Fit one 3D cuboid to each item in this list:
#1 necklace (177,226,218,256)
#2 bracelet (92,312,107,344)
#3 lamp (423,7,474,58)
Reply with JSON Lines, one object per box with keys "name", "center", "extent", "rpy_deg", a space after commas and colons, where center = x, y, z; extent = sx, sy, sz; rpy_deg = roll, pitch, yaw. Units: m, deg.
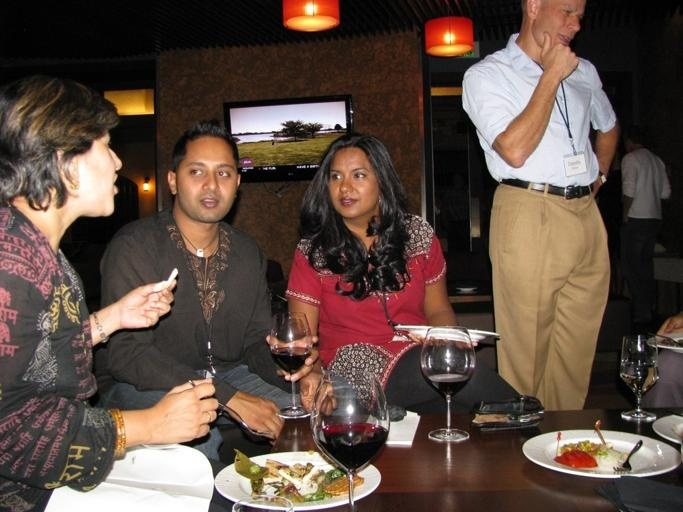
{"name": "necklace", "center": [-0.661, -0.049, 2.476], "extent": [0.131, 0.169, 0.067], "rpy_deg": [-14, -10, -13]}
{"name": "bracelet", "center": [-0.845, 0.258, 1.854], "extent": [0.073, 0.097, 0.051], "rpy_deg": [-6, -6, -23]}
{"name": "lamp", "center": [1.197, -2.430, 5.814], "extent": [0.689, 0.304, 0.697], "rpy_deg": [1, 7, 19]}
